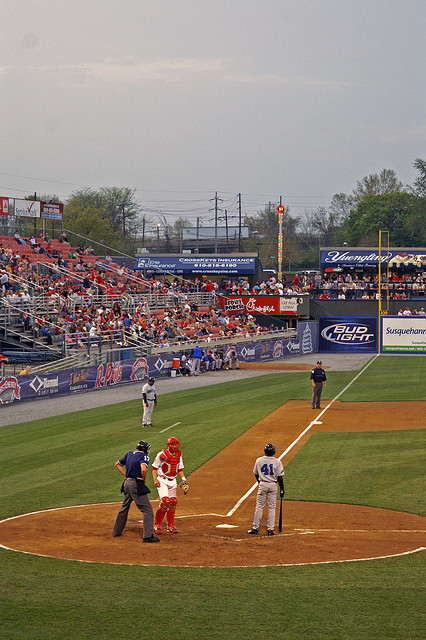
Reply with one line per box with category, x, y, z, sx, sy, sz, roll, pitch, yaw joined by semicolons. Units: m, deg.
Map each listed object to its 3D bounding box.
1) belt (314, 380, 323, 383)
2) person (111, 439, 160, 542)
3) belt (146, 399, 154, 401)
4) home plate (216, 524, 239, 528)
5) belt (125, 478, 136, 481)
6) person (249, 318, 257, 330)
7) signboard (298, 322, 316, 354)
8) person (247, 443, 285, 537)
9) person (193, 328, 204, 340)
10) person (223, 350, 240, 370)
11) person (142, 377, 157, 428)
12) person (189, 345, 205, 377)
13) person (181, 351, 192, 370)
belt;3.225;1.913;33.236;0.192;0.059;0.336;-1;1;1
person;-1.352;2.935;18.345;0.754;1.617;0.814;-2;2;-15
belt;-1.750;2.259;30.321;0.032;0.049;0.184;0;2;44
home plate;0.252;3.667;19.101;0.387;0.009;0.254;-1;1;3
belt;-1.394;2.693;18.166;0.216;0.045;0.046;0;2;43
person;2.262;0.229;61.807;0.603;0.449;1.075;-5;4;-2
signboard;5.460;1.018;62.505;0.573;1.765;2.687;-1;2;16
person;0.909;2.935;18.819;0.629;1.520;0.858;-1;2;2
person;-0.680;0.661;51.886;0.453;0.512;1.135;-1;1;0
person;0.838;1.866;50.608;0.466;0.887;0.916;0;2;42
person;-1.848;2.317;30.617;0.392;1.397;1.515;-2;2;-4
person;-0.791;1.810;47.011;0.524;1.216;1.360;-1;2;-2
person;-1.168;1.829;47.058;0.636;0.809;0.463;-1;-4;0
